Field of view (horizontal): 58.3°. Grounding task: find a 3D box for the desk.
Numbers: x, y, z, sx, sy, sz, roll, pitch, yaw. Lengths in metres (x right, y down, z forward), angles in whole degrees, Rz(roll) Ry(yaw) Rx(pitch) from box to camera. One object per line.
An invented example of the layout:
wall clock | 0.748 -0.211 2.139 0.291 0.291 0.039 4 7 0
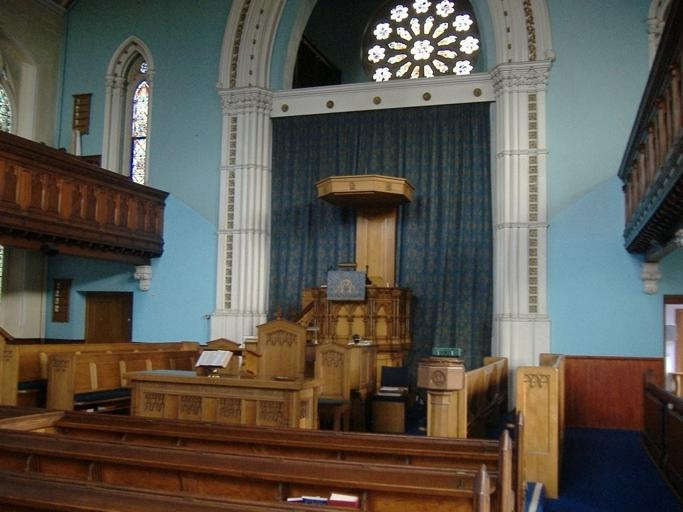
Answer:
desk | -1.571 1.969 7.580 2.313 0.853 0.723 0 -18 17

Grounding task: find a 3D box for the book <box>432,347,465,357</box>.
book | 1.166 1.068 6.793 0.262 0.099 0.306 1 -8 -8

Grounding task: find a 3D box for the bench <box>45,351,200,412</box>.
bench | -3.325 1.912 9.494 0.616 0.837 2.975 4 -7 15

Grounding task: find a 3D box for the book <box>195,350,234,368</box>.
book | -1.613 1.292 7.705 0.399 0.223 0.363 0 -7 -4

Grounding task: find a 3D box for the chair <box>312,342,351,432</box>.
chair | -0.196 1.920 8.560 0.593 1.329 0.689 0 -4 11
